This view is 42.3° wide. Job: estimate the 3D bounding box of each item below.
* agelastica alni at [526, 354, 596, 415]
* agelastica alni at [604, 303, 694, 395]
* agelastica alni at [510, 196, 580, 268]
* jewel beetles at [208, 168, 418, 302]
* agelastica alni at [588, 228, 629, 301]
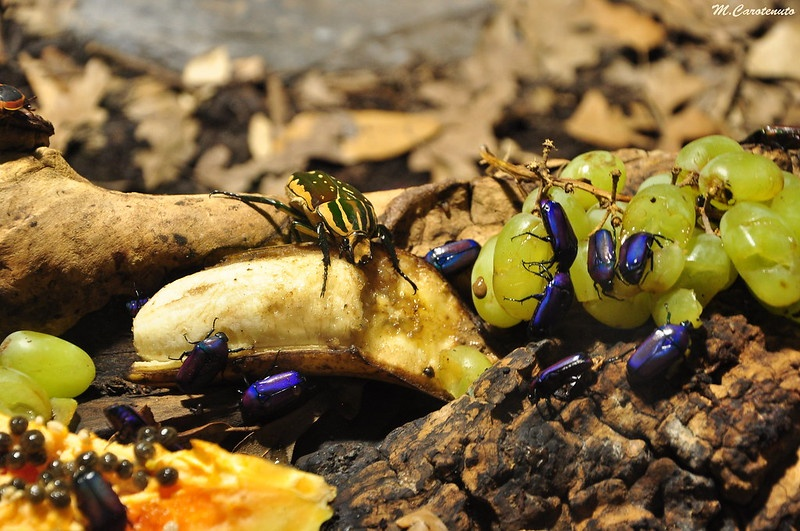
[{"bbox_3d":[0.572,0.379,3.627,0.267,0.090,0.248,-29,-3,13],"label":"agelastica alni"},{"bbox_3d":[0.883,0.262,3.617,0.249,0.220,0.329,19,22,30],"label":"agelastica alni"},{"bbox_3d":[0.516,-0.134,3.795,0.249,0.232,0.185,-13,19,-28],"label":"agelastica alni"},{"bbox_3d":[-0.348,-0.250,4.159,0.618,0.551,0.577,-5,18,-5],"label":"jewel beetles"},{"bbox_3d":[0.710,-0.017,3.638,0.167,0.216,0.136,19,29,38],"label":"agelastica alni"}]
